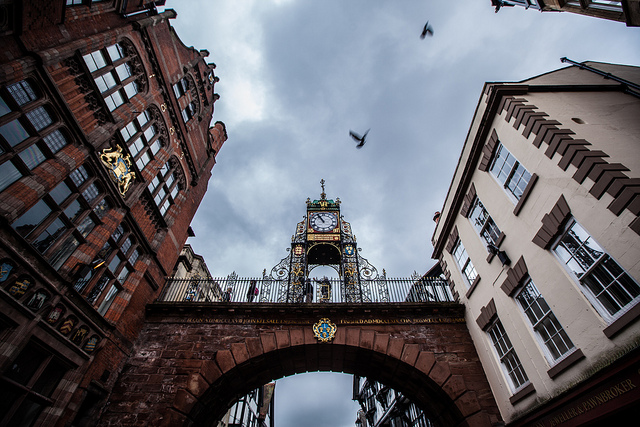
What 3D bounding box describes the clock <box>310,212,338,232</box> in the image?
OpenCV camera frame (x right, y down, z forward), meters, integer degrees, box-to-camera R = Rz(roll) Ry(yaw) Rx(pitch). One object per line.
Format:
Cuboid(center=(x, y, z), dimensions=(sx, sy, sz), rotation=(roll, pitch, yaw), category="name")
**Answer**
Cuboid(center=(0.260, 0.606, 20.659), dimensions=(1.571, 1.588, 0.098), rotation=(0, -43, -3), category="clock")
